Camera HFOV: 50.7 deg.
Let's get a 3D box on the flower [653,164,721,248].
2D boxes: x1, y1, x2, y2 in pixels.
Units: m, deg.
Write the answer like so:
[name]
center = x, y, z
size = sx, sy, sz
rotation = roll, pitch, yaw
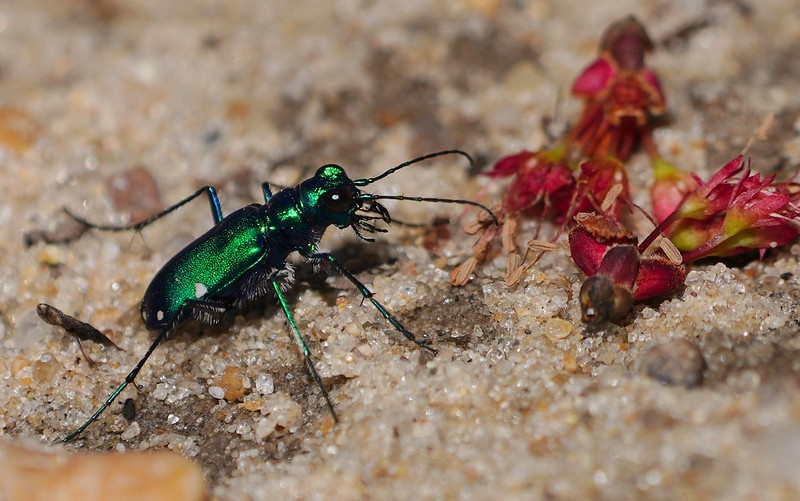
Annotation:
[flower]
center = 1.599, -0.254, 4.734
size = 0.377, 0.144, 0.422
rotation = 17, 114, 47
